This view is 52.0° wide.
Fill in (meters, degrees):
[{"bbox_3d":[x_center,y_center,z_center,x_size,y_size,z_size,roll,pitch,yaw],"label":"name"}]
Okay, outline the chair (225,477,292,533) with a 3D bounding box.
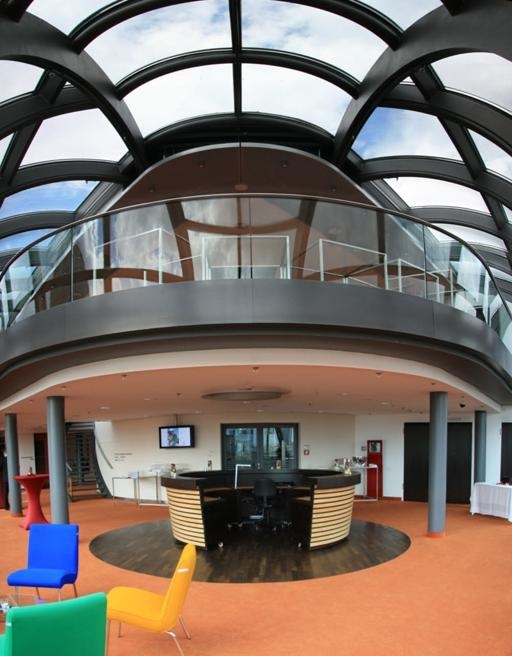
[{"bbox_3d":[0.136,3.674,10.961,1.095,0.982,0.803,0,-11,0],"label":"chair"}]
